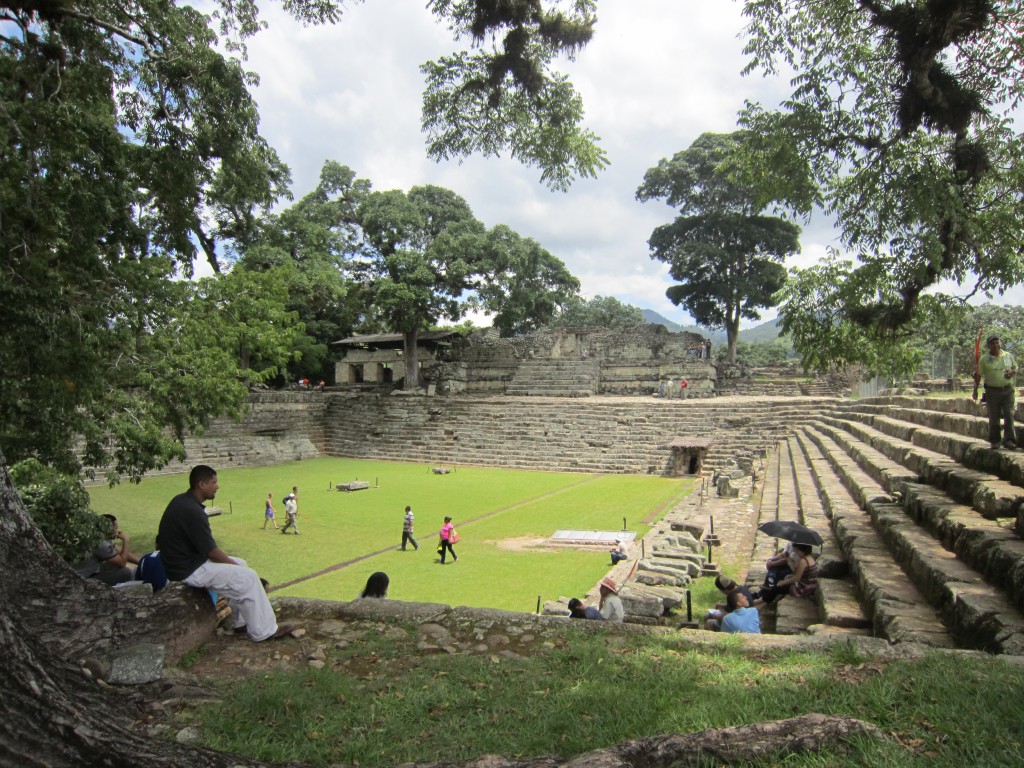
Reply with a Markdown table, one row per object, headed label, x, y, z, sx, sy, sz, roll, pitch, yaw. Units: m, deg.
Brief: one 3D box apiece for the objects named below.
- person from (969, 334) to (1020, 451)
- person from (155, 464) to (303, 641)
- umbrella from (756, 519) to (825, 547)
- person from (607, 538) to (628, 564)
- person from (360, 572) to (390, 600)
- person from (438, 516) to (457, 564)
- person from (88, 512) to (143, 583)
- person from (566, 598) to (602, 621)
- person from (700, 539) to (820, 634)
| label | x | y | z | sx | sy | sz | roll | pitch | yaw |
| --- | --- | --- | --- | --- | --- | --- | --- | --- | --- |
| person | 7.798 | 0.087 | 11.602 | 0.578 | 1.399 | 2.379 | -3 | -3 | 34 |
| person | -3.520 | 2.013 | 8.639 | 1.391 | 2.087 | 0.638 | -1 | -2 | -18 |
| umbrella | 4.266 | 2.269 | 11.033 | 0.557 | 0.214 | 0.572 | 12 | 5 | 43 |
| person | 2.344 | 3.677 | 15.632 | 0.374 | 0.523 | 1.108 | -2 | -3 | 8 |
| person | -2.041 | 2.991 | 10.668 | 0.440 | 0.325 | 0.806 | -2 | -7 | -3 |
| person | -1.483 | 3.507 | 16.471 | 0.441 | 1.042 | 0.800 | -1 | -2 | -5 |
| person | -7.024 | 3.070 | 12.903 | 0.811 | 1.384 | 0.620 | -1 | 4 | -39 |
| person | 1.055 | 3.274 | 10.442 | 0.402 | 0.290 | 0.778 | -2 | -3 | 16 |
| person | 3.516 | 2.958 | 10.470 | 2.278 | 1.158 | 0.925 | 3 | -9 | -24 |
